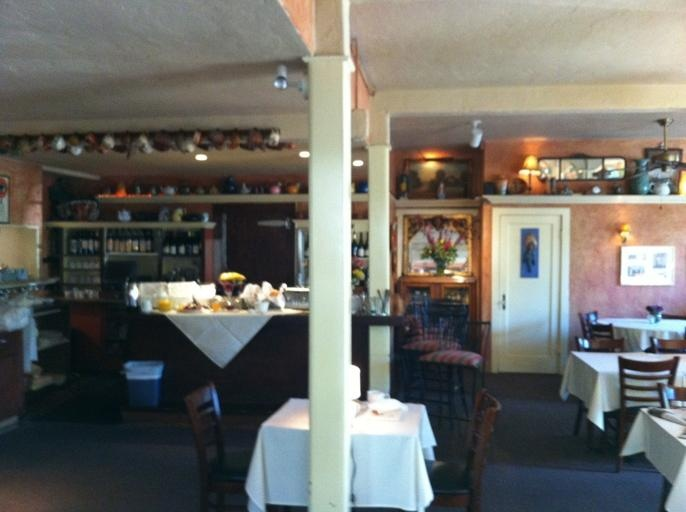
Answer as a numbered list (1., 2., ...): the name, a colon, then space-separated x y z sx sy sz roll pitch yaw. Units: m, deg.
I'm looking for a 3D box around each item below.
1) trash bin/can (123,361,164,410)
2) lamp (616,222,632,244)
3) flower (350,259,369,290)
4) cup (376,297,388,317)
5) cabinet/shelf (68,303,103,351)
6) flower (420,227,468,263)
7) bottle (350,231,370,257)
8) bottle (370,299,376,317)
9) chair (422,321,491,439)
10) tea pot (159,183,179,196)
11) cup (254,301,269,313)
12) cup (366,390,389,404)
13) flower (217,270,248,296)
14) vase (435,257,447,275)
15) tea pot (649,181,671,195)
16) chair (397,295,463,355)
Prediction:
1. trash bin/can: -2.249 1.427 7.437 0.542 0.613 0.472 0 -2 -5
2. lamp: 4.288 -0.332 9.798 0.199 0.324 0.134 1 2 14
3. flower: 0.292 0.225 8.898 0.318 0.400 0.386 2 -2 -7
4. cup: 0.439 0.546 7.142 0.127 0.187 0.140 0 2 0
5. cabinet/shelf: -3.803 1.062 9.606 0.695 0.702 0.385 0 -1 0
6. flower: 1.671 -0.183 10.908 0.603 0.796 0.643 -6 10 -44
7. bottle: 0.262 -0.176 9.741 0.235 0.390 0.157 0 2 -7
8. bottle: 0.340 0.550 7.185 0.104 0.175 0.127 0 2 2
9. chair: 1.497 1.478 8.530 1.176 1.917 1.138 1 -3 8
10. tea pot: -2.794 -1.064 10.482 0.172 0.144 0.198 5 8 29
11. cup: -0.898 0.570 7.284 0.164 0.119 0.170 0 2 0
12. cup: 0.295 1.220 5.633 0.161 0.117 0.108 3 -2 7
13. flower: -1.340 0.316 7.794 0.306 0.309 0.313 1 2 -2
14. vase: 1.603 0.185 10.593 0.215 0.346 0.226 -1 3 -28
15. tea pot: 4.799 -1.017 9.751 0.248 0.175 0.192 0 2 15
16. chair: 1.198 0.909 8.687 0.677 1.009 0.719 3 -3 20
